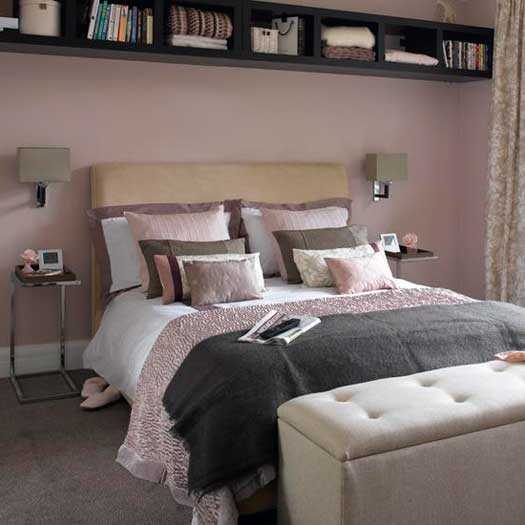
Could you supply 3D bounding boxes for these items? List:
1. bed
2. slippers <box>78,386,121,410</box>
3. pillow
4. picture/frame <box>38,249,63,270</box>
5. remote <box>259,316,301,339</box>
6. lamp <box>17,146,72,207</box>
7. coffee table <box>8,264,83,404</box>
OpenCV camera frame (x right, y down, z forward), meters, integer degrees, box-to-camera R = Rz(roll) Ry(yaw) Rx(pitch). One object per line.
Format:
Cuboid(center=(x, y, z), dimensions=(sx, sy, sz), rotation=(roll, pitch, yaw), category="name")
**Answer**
Cuboid(center=(0.082, 0.281, 2.220), dimensions=(1.716, 1.055, 1.656), rotation=(-3, 4, -18), category="bed")
Cuboid(center=(-0.957, 0.780, 2.772), dimensions=(0.173, 0.091, 0.228), rotation=(2, 11, 32), category="slippers")
Cuboid(center=(-0.013, -0.158, 3.261), dimensions=(1.888, 0.573, 0.793), rotation=(-9, 11, -29), category="pillow")
Cuboid(center=(-1.325, -0.014, 3.005), dimensions=(0.118, 0.110, 0.061), rotation=(1, -16, -28), category="picture/frame")
Cuboid(center=(0.067, 0.264, 1.912), dimensions=(0.050, 0.015, 0.147), rotation=(12, 20, 34), category="remote")
Cuboid(center=(-1.363, -0.529, 2.984), dimensions=(0.313, 0.345, 0.216), rotation=(-9, 16, -41), category="lamp")
Cuboid(center=(-1.377, 0.411, 3.004), dimensions=(0.461, 0.770, 0.601), rotation=(-10, 11, -28), category="coffee table")
